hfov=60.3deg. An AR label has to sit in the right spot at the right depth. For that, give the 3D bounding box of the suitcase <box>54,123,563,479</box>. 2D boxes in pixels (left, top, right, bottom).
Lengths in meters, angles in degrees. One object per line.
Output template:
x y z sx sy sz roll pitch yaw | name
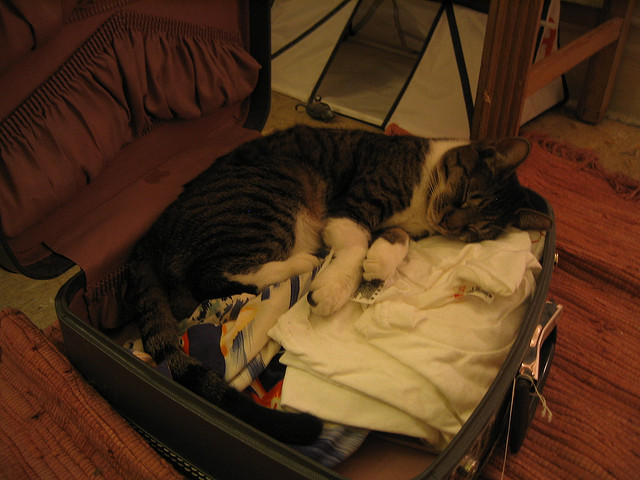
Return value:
0.026 0.329 1.568 0.973 0.386 1.131 12 48 12 | suitcase

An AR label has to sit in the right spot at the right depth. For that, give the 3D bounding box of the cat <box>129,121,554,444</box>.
-0.017 0.207 1.762 0.814 0.323 0.925 7 40 2 | cat

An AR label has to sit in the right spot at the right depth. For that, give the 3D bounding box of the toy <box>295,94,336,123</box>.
-0.004 -0.633 2.680 0.141 0.070 0.097 24 56 26 | toy
